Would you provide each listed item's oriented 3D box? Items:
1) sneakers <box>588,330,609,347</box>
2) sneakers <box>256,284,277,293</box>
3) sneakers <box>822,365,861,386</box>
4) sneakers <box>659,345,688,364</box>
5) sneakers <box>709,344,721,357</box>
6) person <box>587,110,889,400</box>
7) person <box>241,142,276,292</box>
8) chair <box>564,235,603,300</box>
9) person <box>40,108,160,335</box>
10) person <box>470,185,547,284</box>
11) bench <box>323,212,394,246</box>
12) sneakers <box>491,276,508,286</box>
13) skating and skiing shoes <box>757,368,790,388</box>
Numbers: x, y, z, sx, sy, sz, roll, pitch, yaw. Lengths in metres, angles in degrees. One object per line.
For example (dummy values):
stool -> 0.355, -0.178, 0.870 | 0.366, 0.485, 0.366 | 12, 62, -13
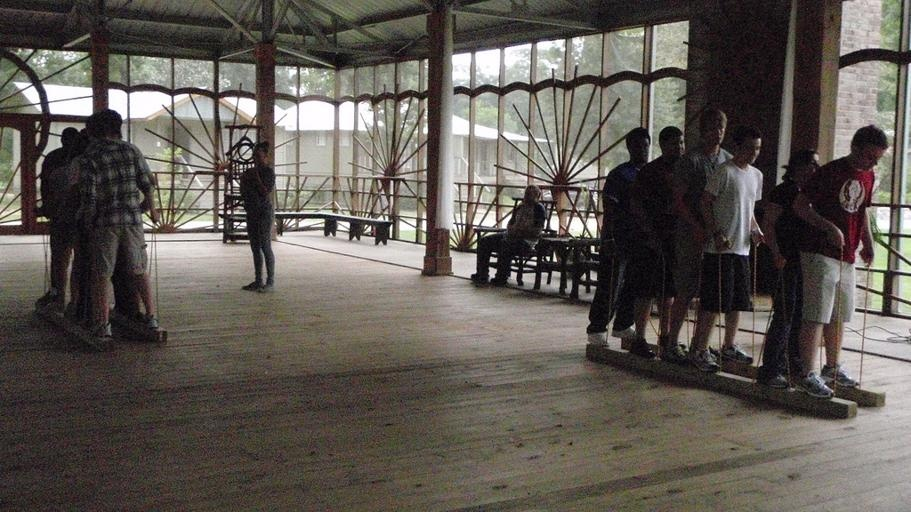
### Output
sneakers -> 1.573, 0.899, 7.590 | 0.116, 0.134, 0.216 | 0, 1, -29
sneakers -> -2.733, 0.465, 10.127 | 0.091, 0.162, 0.245 | 3, -8, 32
sneakers -> 3.756, 1.156, 6.647 | 0.438, 0.192, 0.151 | 7, 4, -3
sneakers -> 2.229, 0.990, 7.048 | 0.313, 0.133, 0.120 | 4, 16, 26
sneakers -> 2.693, 0.977, 7.209 | 0.101, 0.048, 0.133 | 19, 9, -26
person -> 3.139, -0.005, 6.566 | 1.438, 2.449, 0.702 | 8, 12, 30
person -> -2.825, -0.558, 9.992 | 0.432, 2.141, 0.741 | -2, 11, -17
chair -> 1.983, 0.134, 10.622 | 0.818, 1.040, 0.778 | 0, 5, 8
person -> -3.785, -0.364, 7.714 | 0.741, 2.473, 1.156 | -8, 14, -41
person -> 0.875, -0.348, 11.087 | 1.130, 1.601, 0.534 | 5, 11, 17
bench -> -2.322, -0.692, 16.874 | 1.010, 0.680, 2.378 | -6, 14, -34
sneakers -> 0.721, 0.394, 11.188 | 0.306, 0.205, 0.111 | 7, 7, 32
skating and skiing shoes -> 3.015, 1.149, 6.577 | 0.294, 0.167, 0.138 | 0, 5, 14
